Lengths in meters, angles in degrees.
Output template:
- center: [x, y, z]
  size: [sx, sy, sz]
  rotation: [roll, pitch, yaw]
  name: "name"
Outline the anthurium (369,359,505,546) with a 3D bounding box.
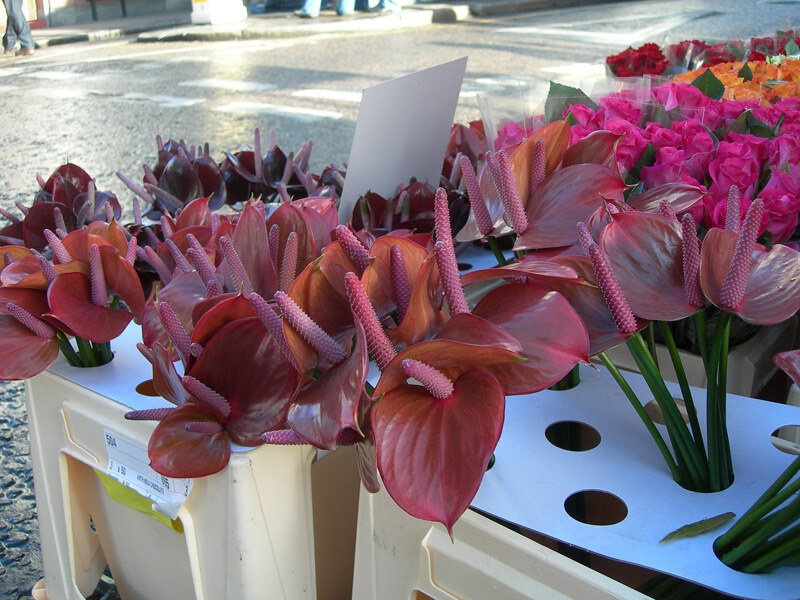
- center: [0.027, 0.097, 0.433]
  size: [0.078, 0.070, 0.089]
  rotation: [12, 26, 31]
  name: "anthurium"
